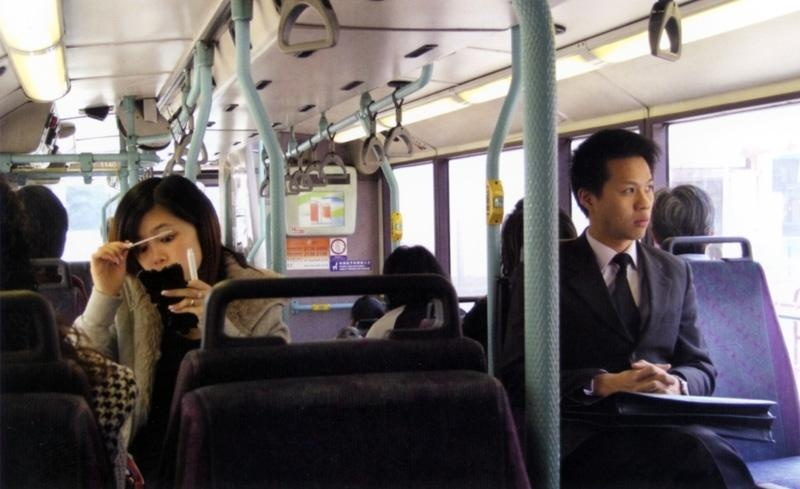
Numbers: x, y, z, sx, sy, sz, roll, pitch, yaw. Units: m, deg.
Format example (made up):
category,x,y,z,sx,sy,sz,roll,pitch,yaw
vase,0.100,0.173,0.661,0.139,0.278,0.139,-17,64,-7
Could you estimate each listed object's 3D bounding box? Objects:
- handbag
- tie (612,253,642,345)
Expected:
category,x,y,z,sx,sy,sz,roll,pitch,yaw
handbag,0.897,0.604,2.123,0.368,0.082,0.351,0,-3,2
tie,0.913,0.223,2.464,0.097,0.349,0.047,-8,-24,3
